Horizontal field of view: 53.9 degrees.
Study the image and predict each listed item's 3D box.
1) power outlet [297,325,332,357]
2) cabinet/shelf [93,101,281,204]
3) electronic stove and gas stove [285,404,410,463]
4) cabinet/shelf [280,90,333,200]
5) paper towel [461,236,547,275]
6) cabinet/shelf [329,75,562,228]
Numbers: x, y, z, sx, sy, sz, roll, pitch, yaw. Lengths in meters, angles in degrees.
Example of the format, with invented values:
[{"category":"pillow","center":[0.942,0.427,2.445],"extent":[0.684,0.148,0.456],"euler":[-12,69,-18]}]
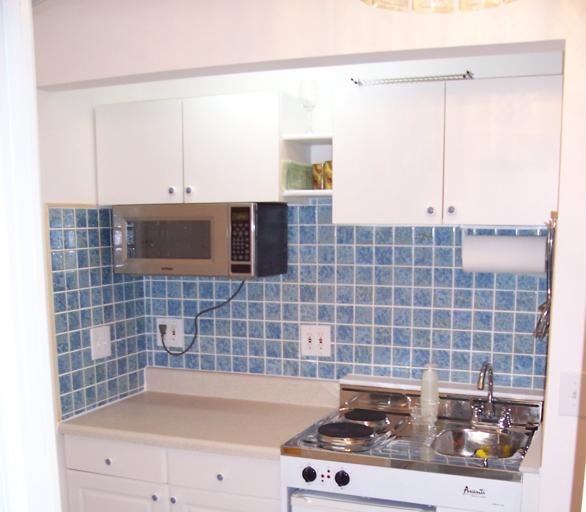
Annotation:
[{"category":"power outlet","center":[0.105,0.394,2.673],"extent":[0.131,0.146,0.016],"euler":[1,-2,10]},{"category":"cabinet/shelf","center":[-0.458,-0.420,2.551],"extent":[0.788,0.466,0.272],"euler":[-2,-7,0]},{"category":"electronic stove and gas stove","center":[0.233,0.681,2.247],"extent":[0.451,0.060,0.495],"euler":[2,6,15]},{"category":"cabinet/shelf","center":[0.057,-0.492,2.444],"extent":[0.212,0.511,0.331],"euler":[0,5,2]},{"category":"paper towel","center":[0.777,-0.005,2.128],"extent":[0.265,0.140,0.131],"euler":[4,15,16]},{"category":"cabinet/shelf","center":[0.566,-0.349,2.311],"extent":[0.809,0.557,0.491],"euler":[0,-5,9]}]
